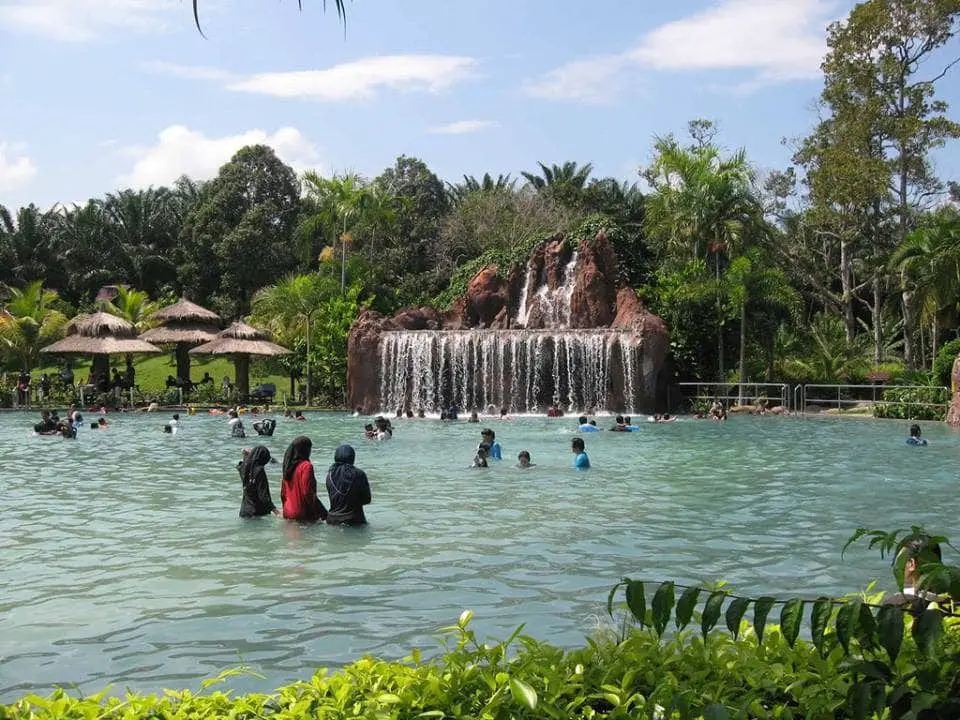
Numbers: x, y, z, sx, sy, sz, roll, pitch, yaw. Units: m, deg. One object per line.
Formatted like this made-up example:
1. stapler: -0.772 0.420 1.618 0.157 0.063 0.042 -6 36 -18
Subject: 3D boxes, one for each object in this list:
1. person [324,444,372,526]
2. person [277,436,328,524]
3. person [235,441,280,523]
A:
1. person: -1.936 1.839 14.156 0.765 1.185 0.379 -1 -1 34
2. person: -2.658 1.784 14.460 0.808 1.274 0.419 -1 -1 41
3. person: -3.716 2.068 15.967 0.746 1.238 0.551 16 21 42
